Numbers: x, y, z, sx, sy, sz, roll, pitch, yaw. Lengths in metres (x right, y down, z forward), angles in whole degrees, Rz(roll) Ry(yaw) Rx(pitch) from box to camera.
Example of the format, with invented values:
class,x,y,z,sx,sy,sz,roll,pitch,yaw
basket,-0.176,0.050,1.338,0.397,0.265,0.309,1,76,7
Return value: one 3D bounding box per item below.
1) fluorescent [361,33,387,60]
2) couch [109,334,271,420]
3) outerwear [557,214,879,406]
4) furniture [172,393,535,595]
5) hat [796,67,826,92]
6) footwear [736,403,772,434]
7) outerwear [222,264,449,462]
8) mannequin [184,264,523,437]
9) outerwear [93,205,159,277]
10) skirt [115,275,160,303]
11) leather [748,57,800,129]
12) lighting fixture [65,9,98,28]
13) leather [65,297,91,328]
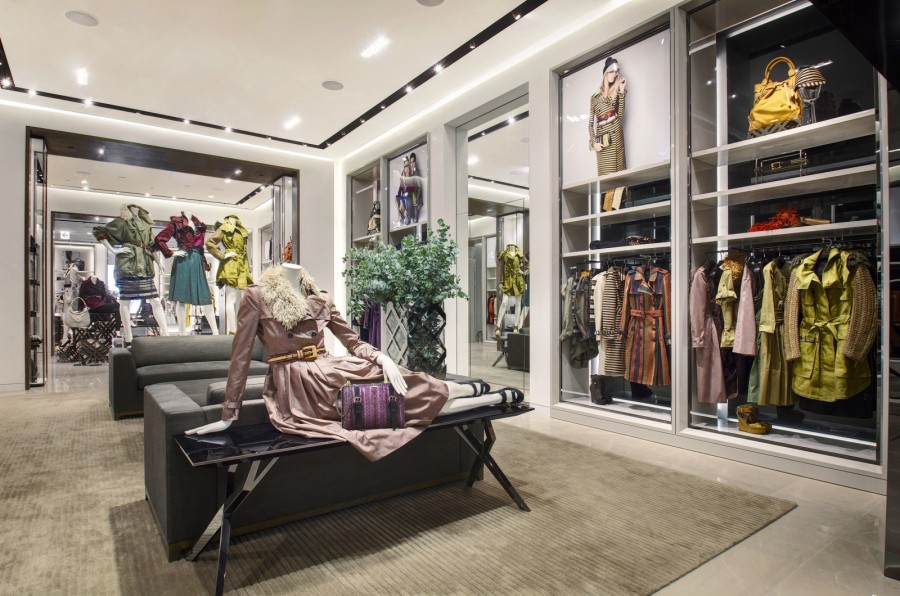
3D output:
class,x,y,z,sx,sy,sz,roll,pitch,yaw
fluorescent,-0.850,-2.848,5.983,0.175,0.161,0.472,-12,18,-39
couch,-2.924,0.865,6.250,1.955,0.811,0.871,1,2,-41
outerwear,2.507,0.117,4.798,1.962,1.362,0.638,-2,-4,41
furniture,-0.471,1.159,3.465,2.329,0.796,0.918,-8,16,-31
hat,3.044,-1.865,4.483,0.186,0.201,0.221,-5,-1,-1
footwear,2.662,1.085,4.632,0.160,0.241,0.339,2,-9,-28
outerwear,-0.854,0.435,3.825,1.627,1.222,1.020,3,-4,9
mannequin,-0.600,0.406,3.629,2.176,1.194,0.909,0,0,-7
outerwear,-4.401,-0.751,7.145,0.705,0.988,0.330,-13,19,-41
skirt,-4.357,-0.154,7.283,0.384,0.407,0.108,-5,35,-25
leather,2.819,-1.669,4.537,0.383,0.483,0.202,8,16,29
lighting fixture,-3.820,-2.889,5.446,0.321,0.097,0.220,3,14,10
leather,-6.442,0.248,9.084,0.509,0.675,0.192,0,-4,-35
